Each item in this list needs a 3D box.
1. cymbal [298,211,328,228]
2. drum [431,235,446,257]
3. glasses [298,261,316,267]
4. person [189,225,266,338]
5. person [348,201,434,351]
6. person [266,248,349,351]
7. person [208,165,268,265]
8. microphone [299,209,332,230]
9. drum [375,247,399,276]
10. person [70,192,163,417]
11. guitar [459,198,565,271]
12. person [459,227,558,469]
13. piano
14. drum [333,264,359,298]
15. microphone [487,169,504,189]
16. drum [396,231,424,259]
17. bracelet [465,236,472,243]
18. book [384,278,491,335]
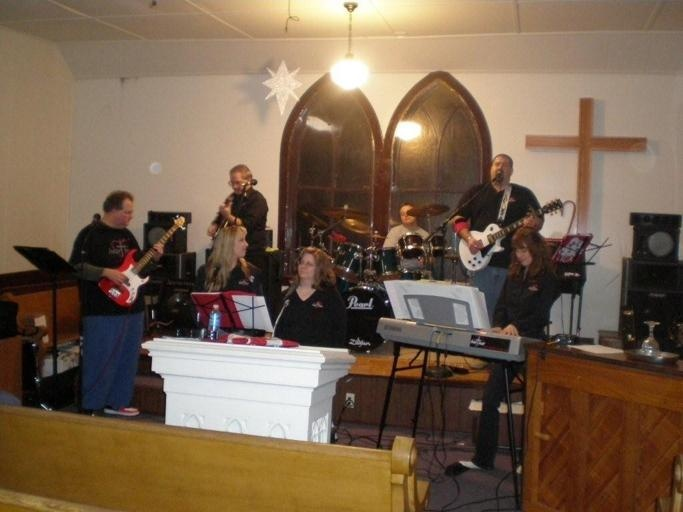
[{"bbox_3d":[-0.337,-0.440,8.203,0.280,0.065,0.275,29,-4,-33],"label":"cymbal"},{"bbox_3d":[1.045,-0.100,7.650,0.191,0.214,0.200,10,-24,-1],"label":"drum"},{"bbox_3d":[-0.278,0.062,5.720,0.133,0.057,0.046,5,-2,-5],"label":"glasses"},{"bbox_3d":[-0.957,0.376,5.916,0.604,1.323,0.332,-3,14,-22],"label":"person"},{"bbox_3d":[0.480,0.132,7.707,0.798,1.691,0.651,4,6,4],"label":"person"},{"bbox_3d":[-0.240,0.326,5.745,0.575,0.732,0.250,5,-1,-6],"label":"person"},{"bbox_3d":[-1.087,-0.495,7.526,0.520,1.171,0.460,4,6,16],"label":"person"},{"bbox_3d":[-0.304,-0.433,8.049,0.296,0.069,0.296,29,-6,-16],"label":"microphone"},{"bbox_3d":[0.498,0.061,7.309,0.250,0.272,0.253,2,-8,-18],"label":"drum"},{"bbox_3d":[-2.073,0.466,6.268,0.617,2.387,0.646,8,7,37],"label":"person"},{"bbox_3d":[1.624,-0.267,6.953,1.367,0.229,0.554,-28,-32,21],"label":"guitar"},{"bbox_3d":[1.419,0.725,5.710,0.639,2.125,0.714,5,5,2],"label":"person"},{"bbox_3d":[0.857,0.659,5.354,1.202,0.186,0.402,4,-6,41],"label":"piano"},{"bbox_3d":[0.038,0.234,7.455,0.302,0.330,0.312,11,-39,-15],"label":"drum"},{"bbox_3d":[1.613,-0.820,7.267,0.119,0.172,0.189,4,-32,5],"label":"microphone"},{"bbox_3d":[0.739,-0.103,7.366,0.249,0.192,0.259,-1,-15,0],"label":"drum"},{"bbox_3d":[1.291,-0.166,7.026,0.070,0.053,0.018,19,52,44],"label":"bracelet"},{"bbox_3d":[0.724,0.349,5.233,0.770,0.393,0.204,4,23,36],"label":"book"}]
